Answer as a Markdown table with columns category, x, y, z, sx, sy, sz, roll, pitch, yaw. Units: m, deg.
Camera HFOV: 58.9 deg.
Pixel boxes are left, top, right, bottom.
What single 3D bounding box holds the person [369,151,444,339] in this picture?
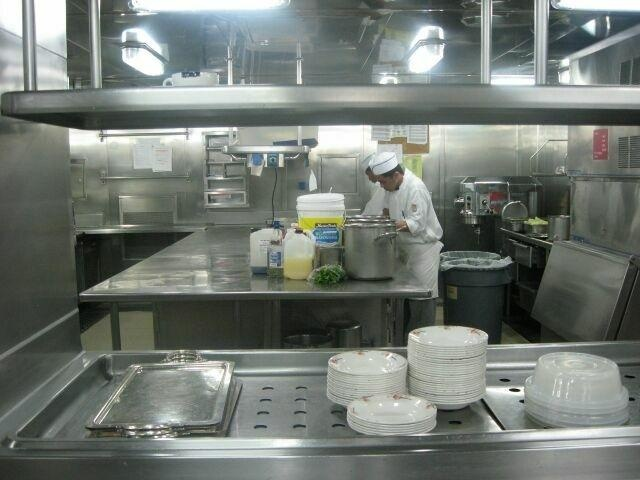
| category | x | y | z | sx | sy | sz | roll | pitch | yaw |
| --- | --- | --- | --- | --- | --- | --- | --- | --- | --- |
| person | 0.679 | 0.140 | 4.746 | 0.795 | 1.609 | 0.698 | 2 | 13 | 16 |

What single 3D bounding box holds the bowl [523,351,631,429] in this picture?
| category | x | y | z | sx | sy | sz | roll | pitch | yaw |
| --- | --- | --- | --- | --- | --- | --- | --- | --- | --- |
| bowl | 0.781 | 0.457 | 1.697 | 0.236 | 0.114 | 0.226 | -1 | 3 | 0 |

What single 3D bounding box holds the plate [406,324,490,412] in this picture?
| category | x | y | z | sx | sy | sz | roll | pitch | yaw |
| --- | --- | --- | --- | --- | --- | --- | --- | --- | --- |
| plate | 0.386 | 0.389 | 1.782 | 0.253 | 0.207 | 0.250 | 0 | 1 | 3 |

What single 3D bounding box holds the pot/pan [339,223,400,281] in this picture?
| category | x | y | z | sx | sy | sz | roll | pitch | yaw |
| --- | --- | --- | --- | --- | --- | --- | --- | --- | --- |
| pot/pan | 0.313 | 0.057 | 3.171 | 0.344 | 0.333 | 0.389 | -2 | 10 | -21 |

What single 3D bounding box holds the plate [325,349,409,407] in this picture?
| category | x | y | z | sx | sy | sz | roll | pitch | yaw |
| --- | --- | --- | --- | --- | --- | --- | --- | --- | --- |
| plate | 0.147 | 0.423 | 1.800 | 0.200 | 0.077 | 0.191 | 1 | 5 | 20 |

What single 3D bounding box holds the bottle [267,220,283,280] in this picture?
| category | x | y | z | sx | sy | sz | roll | pitch | yaw |
| --- | --- | --- | --- | --- | --- | --- | --- | --- | --- |
| bottle | -0.256 | 0.049 | 3.221 | 0.100 | 0.331 | 0.187 | -4 | 9 | -6 |

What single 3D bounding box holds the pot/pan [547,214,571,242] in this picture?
| category | x | y | z | sx | sy | sz | roll | pitch | yaw |
| --- | --- | --- | --- | --- | --- | --- | --- | --- | --- |
| pot/pan | 2.018 | -0.097 | 4.794 | 0.118 | 0.216 | 0.260 | -6 | 9 | -17 |

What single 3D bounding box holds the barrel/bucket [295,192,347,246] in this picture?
| category | x | y | z | sx | sy | sz | roll | pitch | yaw |
| --- | --- | --- | --- | --- | --- | --- | --- | --- | --- |
| barrel/bucket | -0.016 | -0.135 | 3.421 | 0.333 | 0.288 | 0.306 | -1 | 2 | 0 |

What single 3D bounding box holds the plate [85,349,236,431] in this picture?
| category | x | y | z | sx | sy | sz | roll | pitch | yaw |
| --- | --- | --- | --- | --- | --- | --- | --- | --- | --- |
| plate | -0.487 | 0.487 | 1.858 | 0.405 | 0.049 | 0.523 | -1 | 14 | 1 |

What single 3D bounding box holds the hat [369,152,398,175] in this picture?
| category | x | y | z | sx | sy | sz | roll | pitch | yaw |
| --- | --- | --- | --- | --- | --- | --- | --- | --- | --- |
| hat | 0.506 | -0.600 | 4.472 | 0.223 | 0.179 | 0.168 | -2 | 9 | 4 |
